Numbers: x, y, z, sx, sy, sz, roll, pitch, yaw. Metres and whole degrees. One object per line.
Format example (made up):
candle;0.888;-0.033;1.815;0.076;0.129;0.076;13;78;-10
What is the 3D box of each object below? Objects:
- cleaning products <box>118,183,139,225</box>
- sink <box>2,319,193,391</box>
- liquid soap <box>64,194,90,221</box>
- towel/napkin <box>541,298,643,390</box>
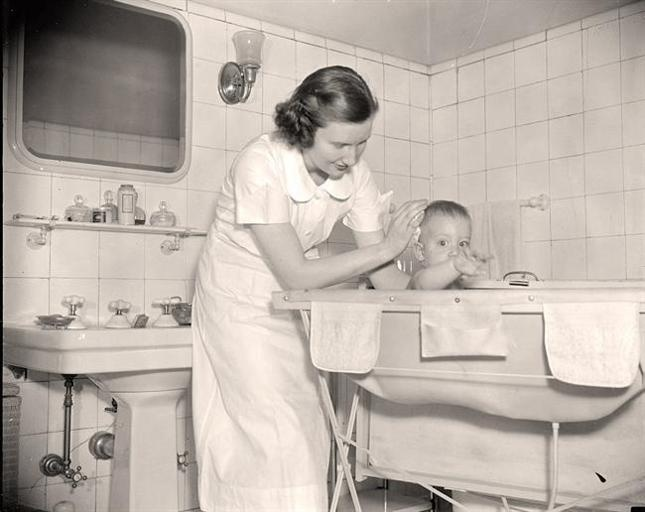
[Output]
cleaning products;-0.718;-0.187;2.232;0.062;0.148;0.048;2;-2;-22
sink;-0.764;0.308;1.926;0.678;0.173;0.280;0;-3;15
liquid soap;-0.873;-0.175;2.172;0.091;0.109;0.076;2;-2;-28
towel/napkin;0.547;0.168;1.219;0.167;0.181;0.025;0;1;25
